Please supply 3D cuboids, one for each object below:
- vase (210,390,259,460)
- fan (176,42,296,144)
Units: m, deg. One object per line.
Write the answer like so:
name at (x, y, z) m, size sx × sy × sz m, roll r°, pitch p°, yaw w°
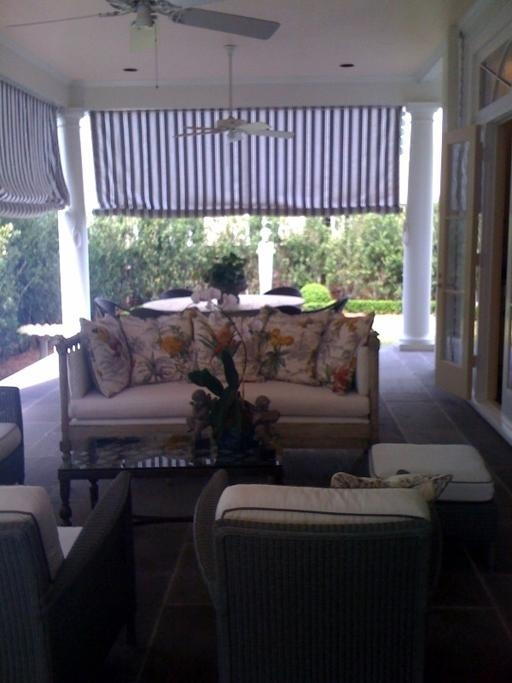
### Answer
vase at (-0.108, 0.380, 2.725) m, size 0.209 × 0.136 × 0.331 m, roll -3°, pitch 30°, yaw 11°
fan at (-0.243, -2.932, 6.463) m, size 1.211 × 1.012 × 1.139 m, roll -2°, pitch 9°, yaw -6°
